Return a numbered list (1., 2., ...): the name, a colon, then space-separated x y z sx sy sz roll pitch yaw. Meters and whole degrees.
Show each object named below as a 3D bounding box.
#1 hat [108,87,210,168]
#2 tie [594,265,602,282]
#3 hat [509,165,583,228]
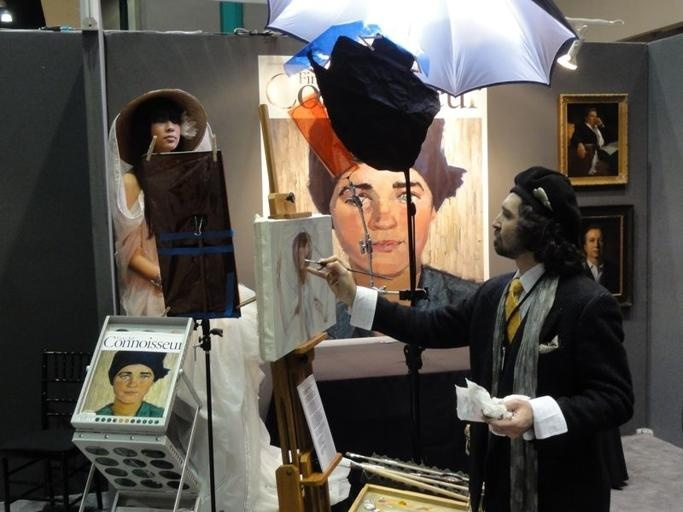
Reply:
1. hat: -1.166 -0.836 4.945 0.596 0.432 0.388 -2 2 1
2. tie: 2.020 0.147 6.136 0.022 0.103 0.072 0 6 -6
3. hat: 1.045 -0.316 3.973 0.331 0.175 0.273 30 -4 -27
